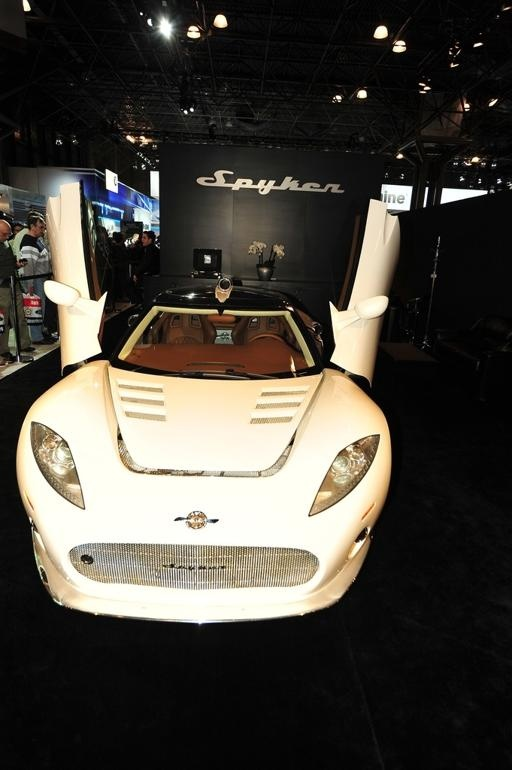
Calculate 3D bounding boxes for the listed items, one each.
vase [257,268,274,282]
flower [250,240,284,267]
[{"bbox_3d":[0.128,-1.512,6.739,0.182,0.159,0.183,17,26,35],"label":"vase"},{"bbox_3d":[0.147,-1.844,6.876,0.445,0.501,0.457,4,12,-8],"label":"flower"}]
